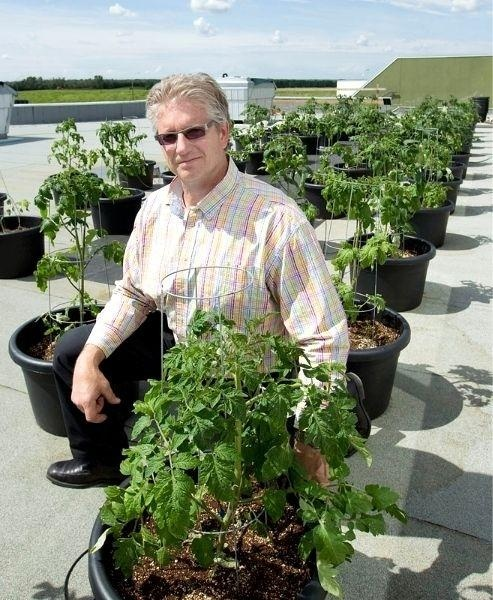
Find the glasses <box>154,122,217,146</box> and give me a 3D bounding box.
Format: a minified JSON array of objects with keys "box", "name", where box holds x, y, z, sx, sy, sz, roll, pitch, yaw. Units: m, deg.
[{"box":[-0.234,-0.566,1.542,0.226,0.088,0.110,14,22,33],"name":"glasses"}]
